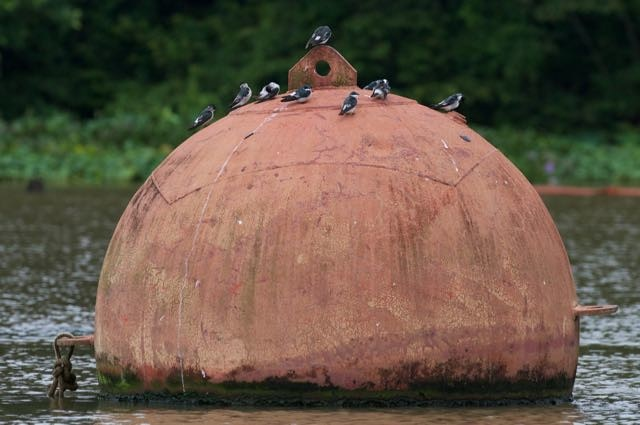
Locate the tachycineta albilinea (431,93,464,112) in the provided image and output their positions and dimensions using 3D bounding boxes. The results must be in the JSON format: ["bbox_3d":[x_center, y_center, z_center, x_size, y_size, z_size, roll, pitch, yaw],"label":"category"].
[{"bbox_3d":[2.736,-2.272,40.918,0.363,0.411,1.077,20,20,41],"label":"tachycineta albilinea"}]

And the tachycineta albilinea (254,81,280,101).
[{"bbox_3d":[-1.161,-2.507,40.037,0.504,0.302,0.336,-36,-7,-17],"label":"tachycineta albilinea"}]
